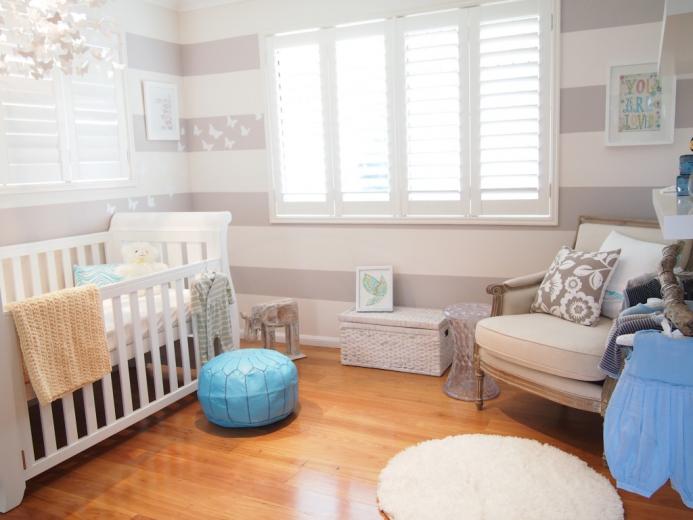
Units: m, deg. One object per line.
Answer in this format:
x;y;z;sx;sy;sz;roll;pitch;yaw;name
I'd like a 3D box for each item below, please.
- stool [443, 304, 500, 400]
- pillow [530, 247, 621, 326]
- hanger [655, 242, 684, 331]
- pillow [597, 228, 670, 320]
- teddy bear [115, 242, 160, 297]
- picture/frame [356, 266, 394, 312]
0.772;0.561;3.067;0.320;0.555;0.368;8;9;39;stool
1.230;0.124;2.628;0.115;0.390;0.378;23;-2;-22;pillow
1.231;0.102;1.876;0.108;0.371;0.102;-11;-52;29;hanger
1.478;0.051;2.583;0.146;0.402;0.399;22;-21;-9;pillow
-1.361;0.079;3.272;0.358;0.373;0.224;0;-6;-18;teddy bear
0.208;0.213;3.560;0.304;0.385;0.028;-2;-13;8;picture/frame
